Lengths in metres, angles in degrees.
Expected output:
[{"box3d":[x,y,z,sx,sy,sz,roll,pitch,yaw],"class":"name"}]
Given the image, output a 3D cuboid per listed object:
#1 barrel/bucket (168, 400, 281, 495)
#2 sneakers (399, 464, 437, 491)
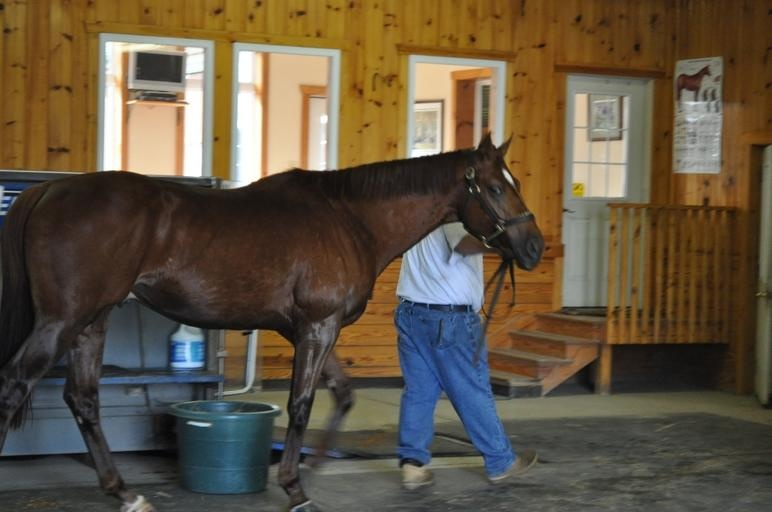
[{"box3d":[-1.102,1.390,7.737,0.888,0.439,0.746,0,-1,3],"class":"barrel/bucket"},{"box3d":[0.244,1.667,7.975,0.145,0.103,0.301,2,3,26],"class":"sneakers"}]
